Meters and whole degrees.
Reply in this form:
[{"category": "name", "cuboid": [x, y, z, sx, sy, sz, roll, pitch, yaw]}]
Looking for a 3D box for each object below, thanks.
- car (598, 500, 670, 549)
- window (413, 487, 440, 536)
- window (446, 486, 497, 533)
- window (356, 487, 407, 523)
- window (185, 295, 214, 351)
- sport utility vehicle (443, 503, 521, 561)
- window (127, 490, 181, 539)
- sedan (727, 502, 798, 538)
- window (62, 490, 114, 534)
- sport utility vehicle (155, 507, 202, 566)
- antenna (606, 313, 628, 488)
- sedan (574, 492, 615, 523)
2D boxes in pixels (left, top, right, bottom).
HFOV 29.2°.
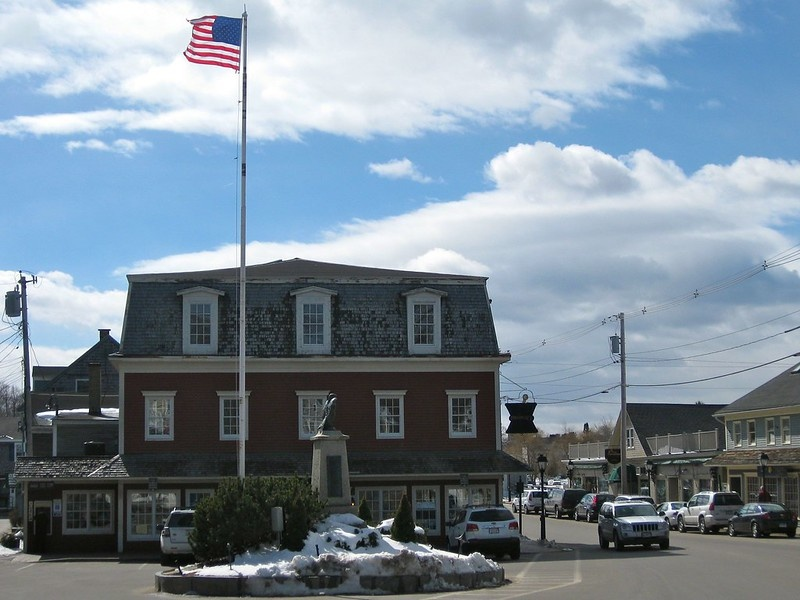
[{"category": "car", "cuboid": [10.291, 10.318, 70.284, 1.702, 1.378, 3.513, 0, -11, -9]}, {"category": "window", "cuboid": [1.184, 10.278, 74.343, 1.273, 2.394, 0.485, -3, -11, -1]}, {"category": "window", "cuboid": [3.430, 10.142, 74.640, 3.090, 2.233, 0.247, 6, -14, -37]}, {"category": "window", "cuboid": [-0.945, 9.433, 70.216, 2.713, 1.958, 0.107, 0, -9, -3]}, {"category": "window", "cuboid": [-9.834, 1.215, 75.222, 1.326, 2.431, 0.125, 0, 11, -6]}, {"category": "sport utility vehicle", "cuboid": [3.470, 10.203, 68.443, 1.905, 1.535, 3.181, 1, -3, -8]}, {"category": "window", "cuboid": [-11.670, 10.163, 72.044, 2.274, 2.240, 0.195, 0, -2, 1]}, {"category": "sedan", "cuboid": [17.797, 11.036, 76.288, 1.655, 1.854, 3.069, 4, -14, -32]}, {"category": "window", "cuboid": [-14.981, 10.234, 73.473, 2.032, 1.793, 0.139, 0, -9, -5]}, {"category": "sport utility vehicle", "cuboid": [-9.850, 10.468, 67.607, 1.355, 2.480, 1.892, -2, -12, -9]}, {"category": "antenna", "cuboid": [13.061, 6.563, 92.737, 1.306, 10.878, 1.063, -2, -1, 3]}, {"category": "sedan", "cuboid": [11.505, 12.441, 92.006, 1.632, 1.479, 3.415, 0, -4, -10]}]
